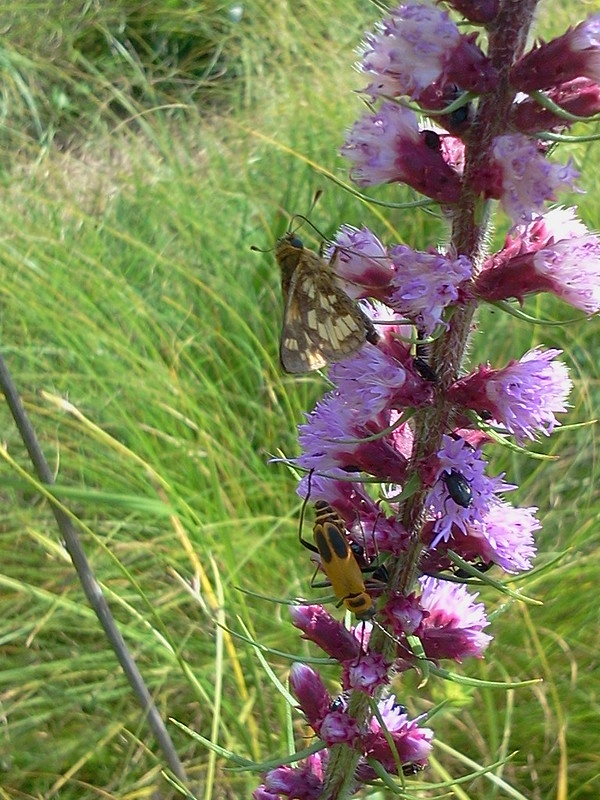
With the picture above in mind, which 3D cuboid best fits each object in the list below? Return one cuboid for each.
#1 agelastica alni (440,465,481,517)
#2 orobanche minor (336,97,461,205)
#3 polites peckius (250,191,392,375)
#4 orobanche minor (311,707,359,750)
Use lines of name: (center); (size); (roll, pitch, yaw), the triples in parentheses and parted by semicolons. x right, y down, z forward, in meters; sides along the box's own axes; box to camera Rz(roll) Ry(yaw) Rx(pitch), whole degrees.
agelastica alni: (0.355, 0.194, 1.765); (0.080, 0.076, 0.026); (-19, 1, -40)
orobanche minor: (0.224, -0.537, 1.790); (0.262, 0.243, 0.223); (-9, 19, -29)
polites peckius: (0.118, -0.254, 2.088); (0.462, 0.541, 0.288); (-12, 29, -26)
orobanche minor: (0.100, 0.842, 2.015); (0.096, 0.086, 0.070); (6, 34, -12)
